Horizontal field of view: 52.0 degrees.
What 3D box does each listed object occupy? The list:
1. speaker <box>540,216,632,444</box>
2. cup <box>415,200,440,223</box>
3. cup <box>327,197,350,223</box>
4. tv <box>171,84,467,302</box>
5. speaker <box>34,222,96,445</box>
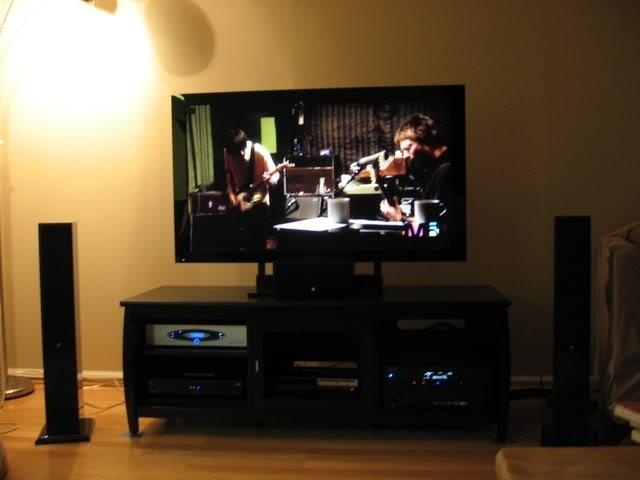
[{"bbox_3d":[1.394,0.495,3.527,0.334,1.267,0.458,5,8,44],"label":"speaker"},{"bbox_3d":[0.627,-0.177,3.817,0.105,0.108,0.143,0,-1,4],"label":"cup"},{"bbox_3d":[0.113,-0.181,3.901,0.134,0.157,0.141,0,-1,0],"label":"cup"},{"bbox_3d":[0.000,-0.305,3.896,1.241,0.921,0.336,0,-1,5],"label":"tv"},{"bbox_3d":[-1.518,0.523,3.767,0.357,1.215,0.393,-4,-2,43],"label":"speaker"}]
